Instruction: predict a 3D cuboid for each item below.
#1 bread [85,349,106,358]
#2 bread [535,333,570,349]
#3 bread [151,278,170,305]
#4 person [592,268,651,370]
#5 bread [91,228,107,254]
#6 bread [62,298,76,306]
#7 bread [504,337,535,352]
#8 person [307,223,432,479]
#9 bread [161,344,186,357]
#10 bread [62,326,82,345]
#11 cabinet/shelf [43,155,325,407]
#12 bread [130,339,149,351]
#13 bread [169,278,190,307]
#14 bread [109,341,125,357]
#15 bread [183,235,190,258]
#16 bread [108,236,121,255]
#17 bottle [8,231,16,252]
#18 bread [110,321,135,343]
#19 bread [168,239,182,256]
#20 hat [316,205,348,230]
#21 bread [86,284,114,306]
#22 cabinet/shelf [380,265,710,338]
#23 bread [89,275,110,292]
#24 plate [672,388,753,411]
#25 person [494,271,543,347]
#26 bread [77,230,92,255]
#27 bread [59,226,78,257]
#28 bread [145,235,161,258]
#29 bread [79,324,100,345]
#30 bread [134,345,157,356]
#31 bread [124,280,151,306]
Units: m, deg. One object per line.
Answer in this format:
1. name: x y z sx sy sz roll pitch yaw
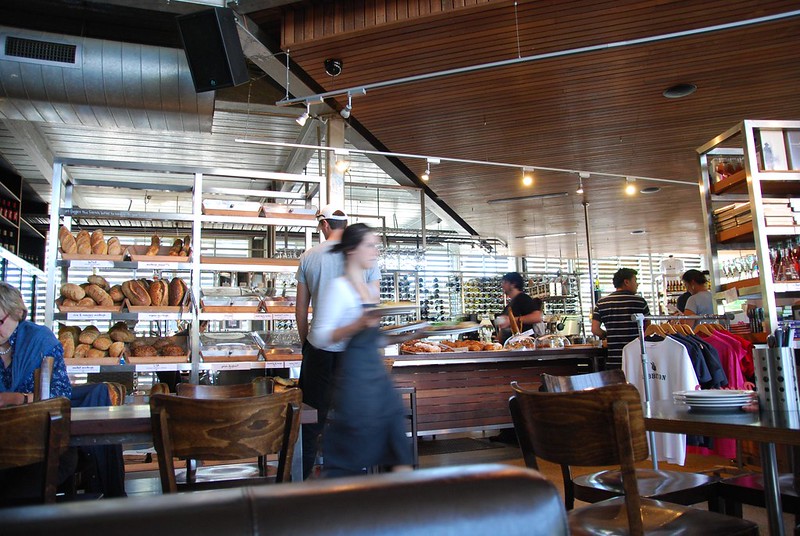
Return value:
1. bread: -2.564 0.718 5.097 0.093 0.022 0.089 5 3 33
2. bread: 1.711 0.814 6.726 0.400 0.134 0.324 -1 -4 0
3. bread: -2.134 0.213 5.352 0.151 0.256 0.131 0 -6 -20
4. person: 2.188 0.489 6.034 0.542 1.034 1.741 -4 -5 17
5. bread: -2.659 -0.235 5.337 0.124 0.259 0.264 0 -5 -26
6. bread: -2.811 0.286 5.121 0.073 0.031 0.064 5 -5 3
7. bread: 1.344 0.839 6.722 0.213 0.081 0.204 4 -6 -39
8. person: -0.193 0.442 3.267 0.540 1.457 0.976 -2 -5 -8
9. bread: -1.982 0.720 5.356 0.186 0.110 0.292 -3 -4 14
10. bread: -2.793 0.559 5.140 0.142 0.157 0.175 2 16 -8
11. cabinet/shelf: -1.660 0.145 5.736 3.054 2.051 0.954 2 4 20
12. bread: -2.252 0.666 5.241 0.137 0.047 0.123 3 0 -34
13. bread: -1.972 0.213 5.374 0.090 0.201 0.222 -4 0 10
14. bread: -2.403 0.680 5.155 0.114 0.065 0.123 18 26 -8
15. bread: -1.922 -0.203 5.466 0.075 0.186 0.087 2 -12 -8
16. bread: -2.531 -0.198 5.348 0.115 0.180 0.208 0 -5 -25
17. bottle: -6.606 -0.459 10.339 0.068 0.341 0.143 -5 -6 27
18. bread: -2.441 0.572 5.269 0.107 0.183 0.171 -26 -6 40
19. bread: -2.043 -0.190 5.504 0.122 0.175 0.246 0 -5 -19
20. hat: -0.526 -0.398 4.773 0.233 0.148 0.324 3 1 -35
21. bread: -2.559 0.243 5.205 0.245 0.132 0.092 41 -19 -6
22. cabinet/shelf: 4.013 0.616 13.667 1.795 1.516 5.502 -4 3 -28
23. bread: -2.607 0.118 5.250 0.169 0.074 0.158 26 0 2
24. plate: 1.570 0.641 2.955 0.202 0.034 0.170 0 -4 -17
25. person: 1.402 0.436 7.141 0.540 0.801 0.883 -3 -5 11
26. bread: -2.751 -0.218 5.258 0.112 0.079 0.252 4 37 -31
27. bread: -2.893 -0.245 5.255 0.137 0.281 0.252 1 -5 -28
28. bread: -2.271 -0.191 5.474 0.109 0.255 0.125 19 -9 -16
29. bread: -2.658 0.579 5.165 0.112 0.084 0.207 10 9 -11
30. bread: -2.193 0.707 5.196 0.139 0.057 0.122 7 -1 1
31. bread: -2.282 0.216 5.267 0.175 0.240 0.193 -6 -6 35
